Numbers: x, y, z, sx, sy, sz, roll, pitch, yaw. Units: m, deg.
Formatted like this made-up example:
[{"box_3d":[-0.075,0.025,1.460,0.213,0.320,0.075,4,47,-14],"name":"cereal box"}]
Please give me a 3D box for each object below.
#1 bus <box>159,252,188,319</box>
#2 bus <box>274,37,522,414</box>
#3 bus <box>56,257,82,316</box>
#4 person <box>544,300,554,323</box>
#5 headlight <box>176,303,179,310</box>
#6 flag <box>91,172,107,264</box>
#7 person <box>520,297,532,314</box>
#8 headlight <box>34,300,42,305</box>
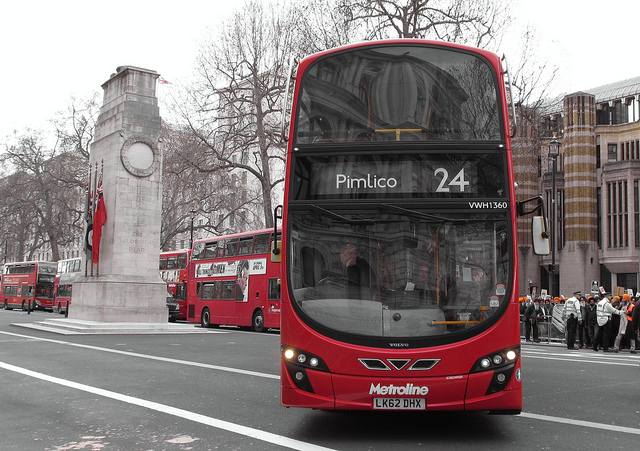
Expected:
[{"box_3d":[-9.296,3.773,36.405,0.919,4.225,3.574,4,-8,-30],"name":"bus"},{"box_3d":[1.238,0.056,10.656,3.712,5.487,6.085,0,-4,2],"name":"bus"},{"box_3d":[-21.095,4.965,47.275,1.459,4.560,6.661,3,-8,-26],"name":"bus"},{"box_3d":[10.611,4.009,26.599,0.325,1.015,1.145,-3,-7,19],"name":"person"},{"box_3d":[-9.022,5.083,35.718,0.157,0.383,0.483,2,-7,-15],"name":"headlight"},{"box_3d":[-10.103,-0.445,25.965,0.478,4.302,0.991,4,-8,-34],"name":"flag"},{"box_3d":[9.663,3.687,26.710,0.294,0.803,0.600,20,-7,1],"name":"person"},{"box_3d":[-25.950,7.061,52.226,0.712,0.404,0.295,-2,-7,13],"name":"headlight"}]
